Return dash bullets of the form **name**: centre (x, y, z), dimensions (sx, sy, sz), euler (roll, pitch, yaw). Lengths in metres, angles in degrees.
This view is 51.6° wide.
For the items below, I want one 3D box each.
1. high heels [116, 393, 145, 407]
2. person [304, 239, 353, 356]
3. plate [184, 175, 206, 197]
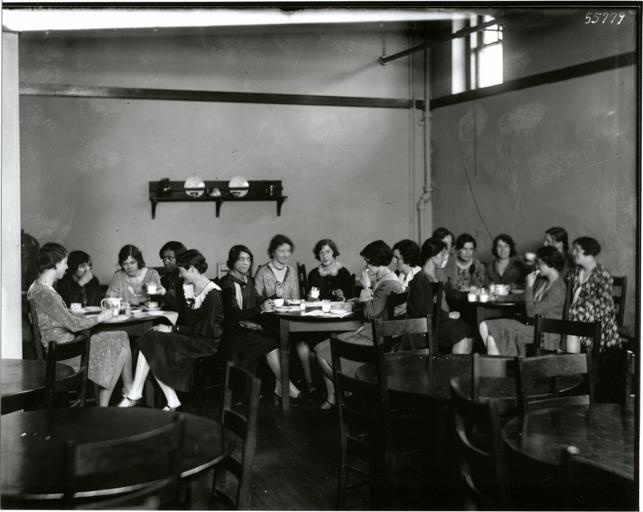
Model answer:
- **high heels**: centre (-1.177, 0.884, 4.062), dimensions (0.207, 0.092, 0.112), euler (8, -3, -18)
- **person**: centre (0.057, 0.298, 4.967), dimensions (0.313, 0.838, 0.417), euler (-2, 3, 14)
- **plate**: centre (-0.850, -0.456, 4.434), dimensions (0.146, 0.142, 0.032), euler (-2, 2, -43)
